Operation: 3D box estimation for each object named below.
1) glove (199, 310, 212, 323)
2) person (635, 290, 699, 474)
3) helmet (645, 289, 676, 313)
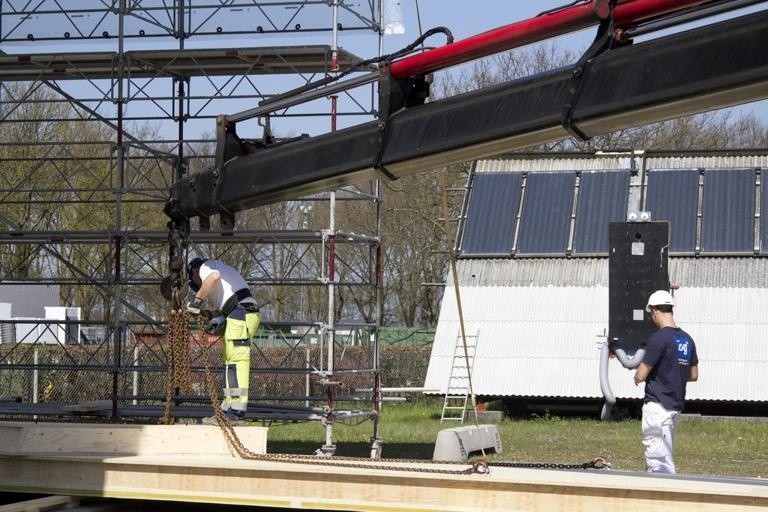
[{"bbox_3d":[-2.821,0.975,22.323,0.045,0.190,0.193,-3,21,39],"label":"glove"},{"bbox_3d":[4.361,1.950,21.594,0.919,2.819,0.679,0,-7,11],"label":"person"},{"bbox_3d":[4.340,0.737,21.924,0.343,0.239,0.450,0,-2,-2],"label":"helmet"}]
